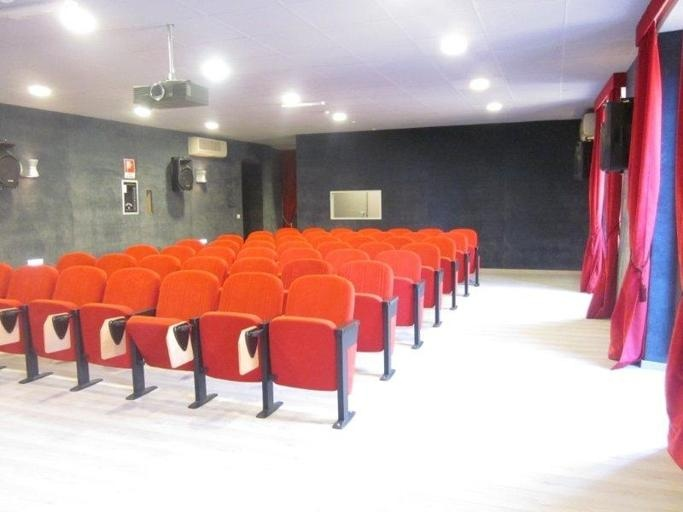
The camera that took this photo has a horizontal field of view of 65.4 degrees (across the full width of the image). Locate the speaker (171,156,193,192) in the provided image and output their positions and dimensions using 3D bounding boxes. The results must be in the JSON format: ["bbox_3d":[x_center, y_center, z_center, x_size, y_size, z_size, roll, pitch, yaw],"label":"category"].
[{"bbox_3d":[-3.411,-1.747,11.441,0.254,0.746,0.498,6,13,30],"label":"speaker"}]

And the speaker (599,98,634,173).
[{"bbox_3d":[2.911,-1.287,5.649,0.269,0.750,0.381,5,12,26],"label":"speaker"}]

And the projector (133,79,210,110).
[{"bbox_3d":[-1.788,-1.709,5.663,0.682,0.317,0.448,5,8,20],"label":"projector"}]

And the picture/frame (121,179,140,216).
[{"bbox_3d":[-4.126,-1.144,10.364,0.071,0.805,0.685,0,3,18],"label":"picture/frame"}]

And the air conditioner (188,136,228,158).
[{"bbox_3d":[-3.040,-2.468,12.037,0.465,0.485,0.938,5,13,25],"label":"air conditioner"}]

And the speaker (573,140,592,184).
[{"bbox_3d":[4.030,-1.597,8.871,0.228,0.619,0.466,4,12,22],"label":"speaker"}]
